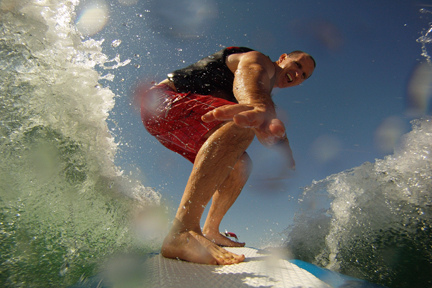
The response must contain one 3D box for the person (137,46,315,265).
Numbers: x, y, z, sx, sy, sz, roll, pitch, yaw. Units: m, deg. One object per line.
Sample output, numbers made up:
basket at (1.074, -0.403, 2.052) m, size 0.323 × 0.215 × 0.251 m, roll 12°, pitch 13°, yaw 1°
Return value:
person at (0.038, 0.109, 2.621) m, size 1.125 × 1.602 × 1.467 m, roll -1°, pitch 53°, yaw 5°
